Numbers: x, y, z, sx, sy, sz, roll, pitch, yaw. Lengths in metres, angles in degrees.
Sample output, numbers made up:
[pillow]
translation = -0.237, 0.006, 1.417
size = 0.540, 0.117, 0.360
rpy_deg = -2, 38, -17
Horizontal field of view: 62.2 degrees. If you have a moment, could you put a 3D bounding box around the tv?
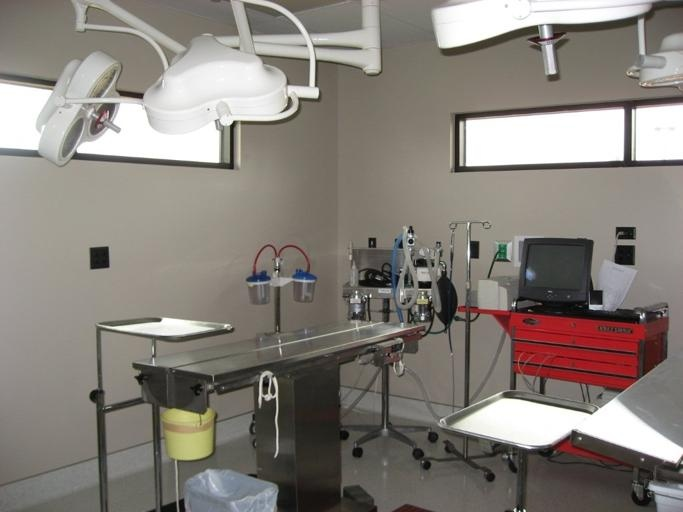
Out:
[tv]
translation = 1.443, 0.060, 3.829
size = 0.454, 0.493, 0.276
rpy_deg = 5, 21, 21

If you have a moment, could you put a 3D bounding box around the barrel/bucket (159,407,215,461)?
[barrel/bucket]
translation = -0.704, 0.838, 2.707
size = 0.266, 0.243, 0.274
rpy_deg = 0, -1, 0
